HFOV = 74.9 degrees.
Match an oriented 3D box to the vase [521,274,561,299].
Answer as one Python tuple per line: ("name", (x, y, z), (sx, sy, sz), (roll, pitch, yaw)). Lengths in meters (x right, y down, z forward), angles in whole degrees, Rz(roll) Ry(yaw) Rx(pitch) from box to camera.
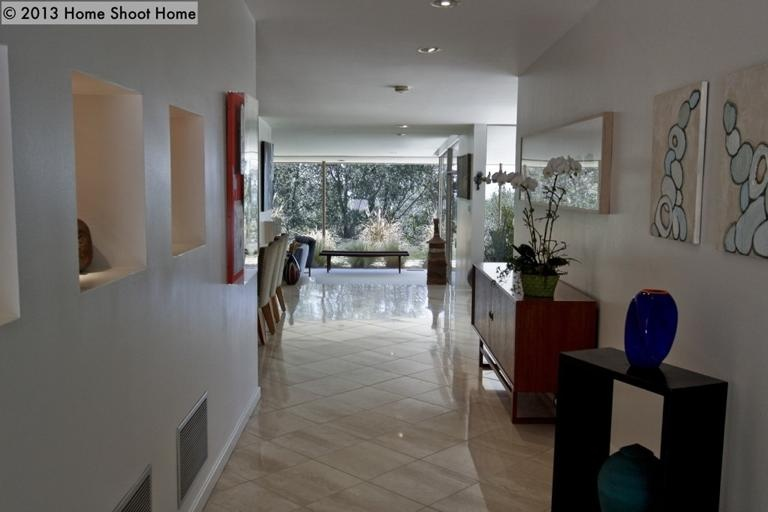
("vase", (1.170, 0.227, 3.804), (0.225, 0.142, 0.182), (0, 0, 1))

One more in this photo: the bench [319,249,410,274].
("bench", (-0.529, 0.089, 11.883), (1.910, 0.443, 1.069), (0, 7, -7))
